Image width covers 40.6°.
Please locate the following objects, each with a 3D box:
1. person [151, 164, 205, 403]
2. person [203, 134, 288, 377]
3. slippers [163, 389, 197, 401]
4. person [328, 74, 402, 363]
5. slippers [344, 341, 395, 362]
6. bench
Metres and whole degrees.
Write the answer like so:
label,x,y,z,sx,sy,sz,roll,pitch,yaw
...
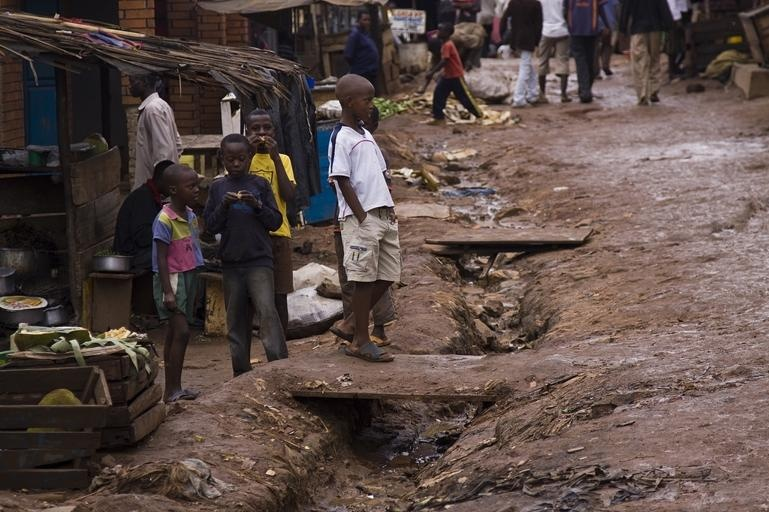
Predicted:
label,x,y,z,sx,sy,sz,roll,pitch,yaw
person,-2.099,0.240,10.309,0.353,2.257,0.704,1,9,32
person,-1.355,0.019,10.194,0.739,2.406,0.455,-4,7,-5
slippers,-1.954,1.348,9.907,0.276,0.061,0.127,-8,-2,26
person,-0.201,-0.332,10.004,0.604,2.804,0.477,-7,8,-25
slippers,-0.149,0.948,10.289,0.444,0.118,0.187,6,15,26
bench,-3.233,0.640,12.794,0.576,0.668,0.766,-3,-12,16
